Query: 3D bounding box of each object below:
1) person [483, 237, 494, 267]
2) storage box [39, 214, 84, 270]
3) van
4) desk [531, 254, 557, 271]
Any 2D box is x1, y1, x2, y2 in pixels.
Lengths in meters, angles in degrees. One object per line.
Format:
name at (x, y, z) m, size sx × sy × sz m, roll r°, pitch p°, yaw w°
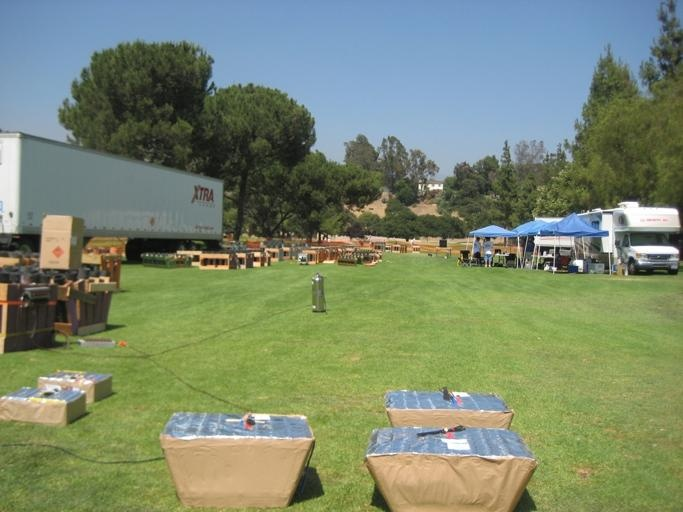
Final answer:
person at (10.135, -0.193, 38.217) m, size 0.486 × 1.768 × 1.458 m, roll 0°, pitch 0°, yaw 8°
storage box at (-6.783, -0.442, 13.109) m, size 0.633 × 1.319 × 0.865 m, roll 3°, pitch 20°, yaw -32°
van at (16.695, -0.993, 30.026) m, size 2.489 × 3.502 × 5.644 m, roll 0°, pitch -2°, yaw 7°
desk at (13.270, 0.411, 36.365) m, size 1.054 × 1.225 × 0.712 m, roll 4°, pitch -5°, yaw 6°
